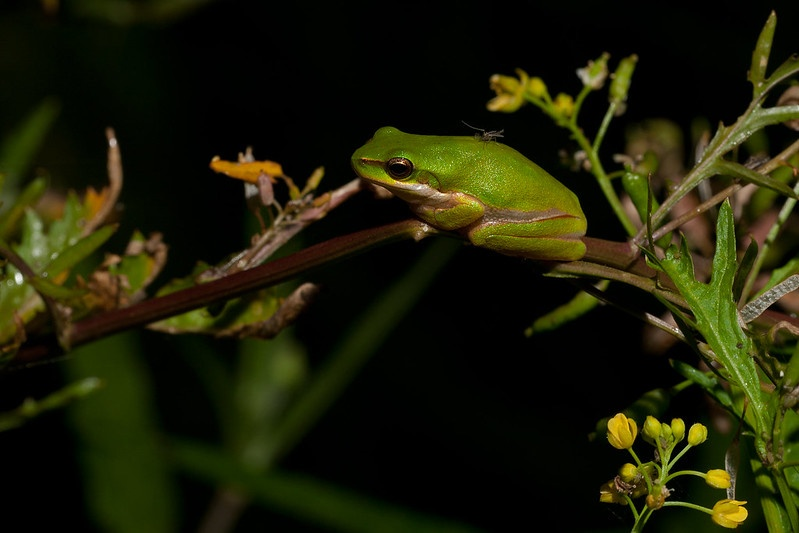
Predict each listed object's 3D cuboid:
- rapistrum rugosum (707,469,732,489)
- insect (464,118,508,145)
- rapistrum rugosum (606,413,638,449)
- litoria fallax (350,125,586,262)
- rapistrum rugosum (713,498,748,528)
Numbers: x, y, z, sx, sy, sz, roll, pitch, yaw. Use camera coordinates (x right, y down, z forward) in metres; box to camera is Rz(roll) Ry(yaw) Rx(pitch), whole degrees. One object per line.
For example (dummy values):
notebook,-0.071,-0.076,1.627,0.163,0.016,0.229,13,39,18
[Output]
rapistrum rugosum,0.694,0.467,1.823,0.046,0.040,0.080,-8,-20,26
insect,0.185,-0.332,2.079,0.145,0.050,0.074,14,10,30
rapistrum rugosum,0.480,0.362,1.810,0.064,0.071,0.076,-5,-11,-19
litoria fallax,0.162,-0.173,1.977,0.472,0.174,0.312,7,22,0
rapistrum rugosum,0.711,0.539,1.809,0.074,0.070,0.034,-5,-12,29
